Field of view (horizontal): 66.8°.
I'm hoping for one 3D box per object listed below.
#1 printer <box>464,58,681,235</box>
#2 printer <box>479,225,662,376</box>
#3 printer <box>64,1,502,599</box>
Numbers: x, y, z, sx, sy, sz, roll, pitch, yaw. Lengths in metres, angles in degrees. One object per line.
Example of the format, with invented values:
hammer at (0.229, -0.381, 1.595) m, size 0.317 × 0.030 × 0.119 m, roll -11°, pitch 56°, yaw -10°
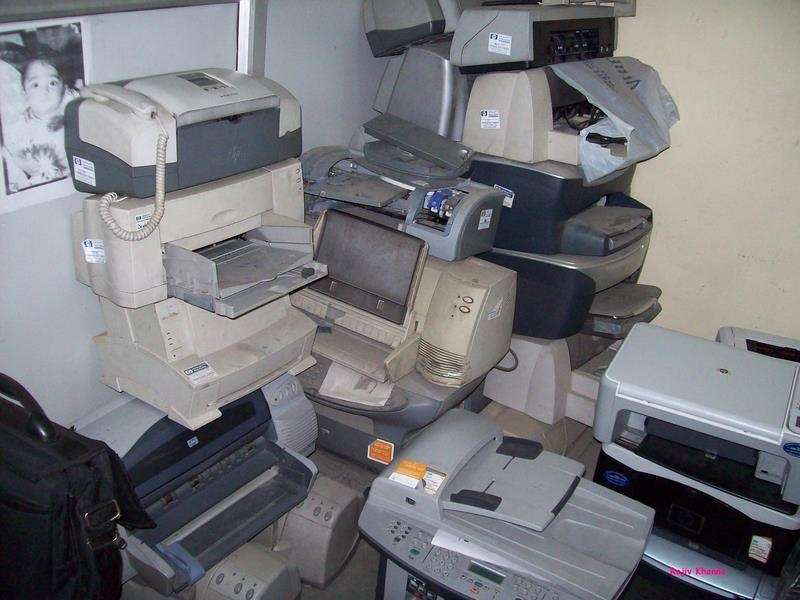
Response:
printer at (0.698, -0.737, 2.501) m, size 0.705 × 0.303 × 0.865 m, roll 23°, pitch 24°, yaw 32°
printer at (0.715, -0.106, 2.560) m, size 0.591 × 0.455 × 0.740 m, roll -20°, pitch 29°, yaw -29°
printer at (-0.252, -0.317, 2.745) m, size 1.381 × 2.549 × 1.698 m, roll 34°, pitch 47°, yaw 29°
